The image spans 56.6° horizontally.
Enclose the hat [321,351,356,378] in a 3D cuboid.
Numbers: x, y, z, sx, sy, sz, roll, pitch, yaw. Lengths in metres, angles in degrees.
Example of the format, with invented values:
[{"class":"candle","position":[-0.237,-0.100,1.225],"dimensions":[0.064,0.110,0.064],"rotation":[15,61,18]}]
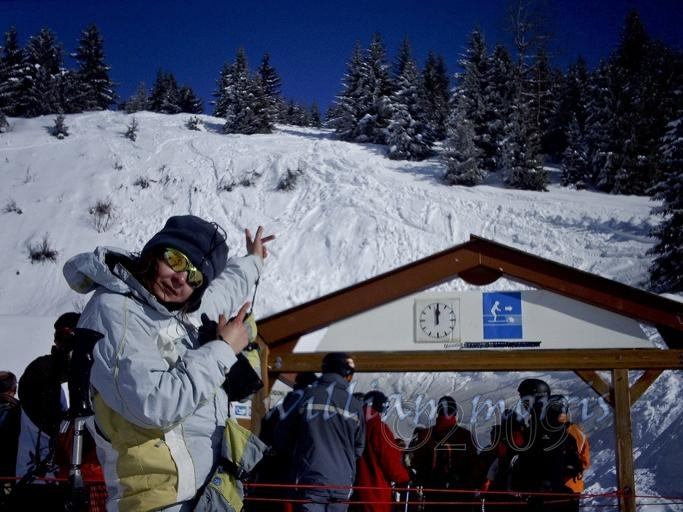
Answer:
[{"class":"hat","position":[-0.044,1.354,7.985],"dimensions":[0.238,0.320,0.351],"rotation":[5,10,34]}]

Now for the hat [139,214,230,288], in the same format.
[{"class":"hat","position":[-1.487,-0.118,6.189],"dimensions":[0.588,0.635,0.730],"rotation":[49,-19,-28]}]
